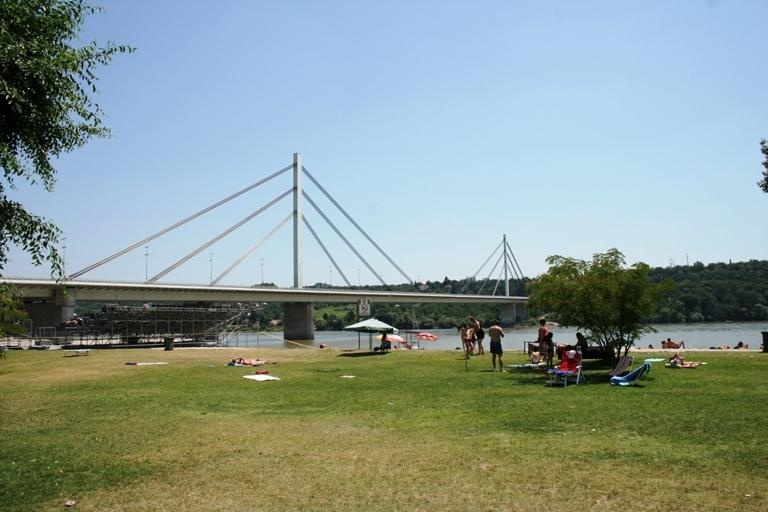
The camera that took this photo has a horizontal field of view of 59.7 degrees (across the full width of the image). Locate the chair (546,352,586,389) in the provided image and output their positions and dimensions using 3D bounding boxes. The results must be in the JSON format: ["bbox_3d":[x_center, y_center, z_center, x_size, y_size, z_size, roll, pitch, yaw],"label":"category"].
[{"bbox_3d":[6.051,3.719,22.392,0.871,0.871,1.273,-2,3,40],"label":"chair"}]
